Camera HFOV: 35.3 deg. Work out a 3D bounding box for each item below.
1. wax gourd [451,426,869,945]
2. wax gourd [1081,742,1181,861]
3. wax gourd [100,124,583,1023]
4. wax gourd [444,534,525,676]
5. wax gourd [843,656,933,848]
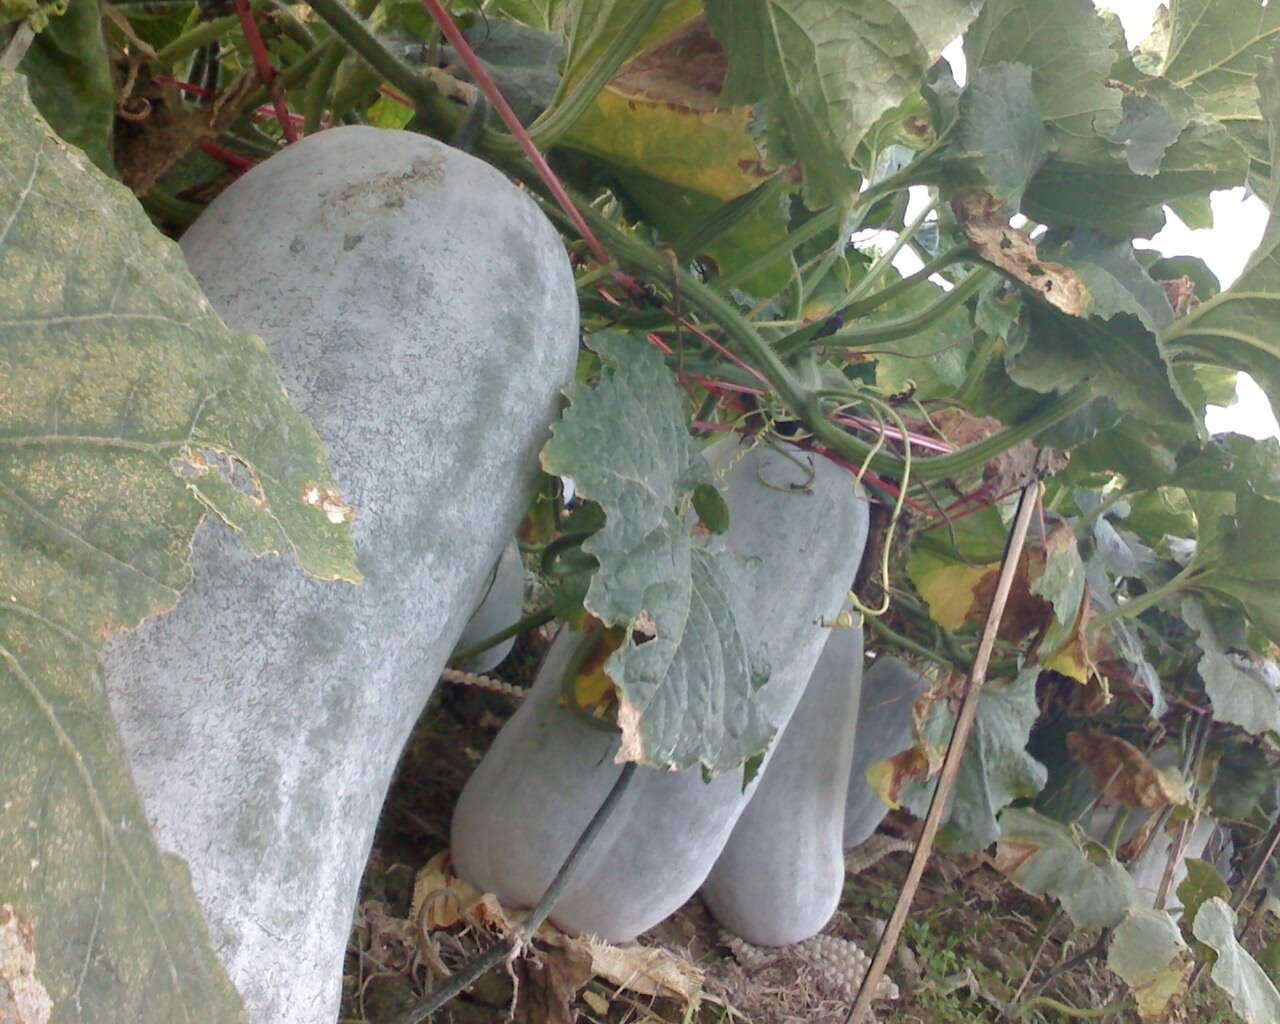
[{"bbox_3d":[0.010,0.190,1.860,0.244,0.562,0.205,28,3,3],"label":"wax gourd"},{"bbox_3d":[0.525,0.307,2.154,0.098,0.081,0.095,64,-18,-16],"label":"wax gourd"},{"bbox_3d":[-0.228,0.007,1.476,0.236,0.646,0.237,14,-7,-15],"label":"wax gourd"},{"bbox_3d":[-0.139,0.097,1.971,0.023,0.114,0.107,26,-25,23],"label":"wax gourd"},{"bbox_3d":[0.244,0.250,2.056,0.041,0.181,0.092,14,2,-32],"label":"wax gourd"}]
